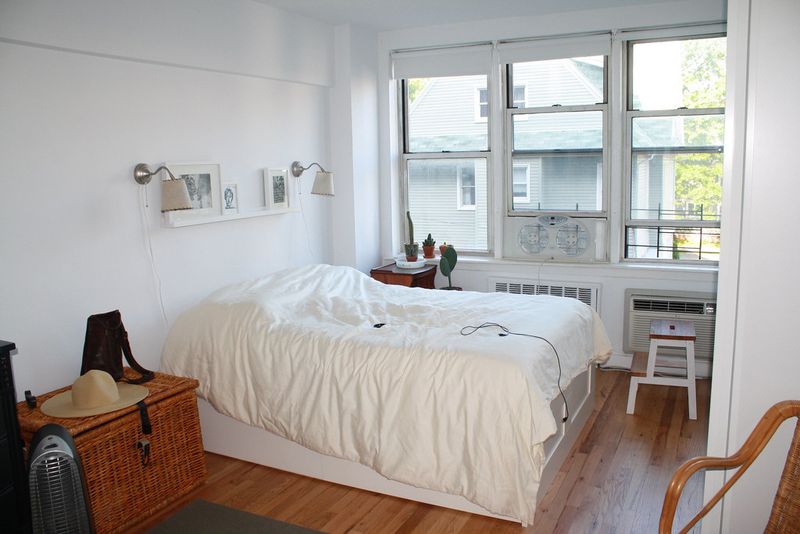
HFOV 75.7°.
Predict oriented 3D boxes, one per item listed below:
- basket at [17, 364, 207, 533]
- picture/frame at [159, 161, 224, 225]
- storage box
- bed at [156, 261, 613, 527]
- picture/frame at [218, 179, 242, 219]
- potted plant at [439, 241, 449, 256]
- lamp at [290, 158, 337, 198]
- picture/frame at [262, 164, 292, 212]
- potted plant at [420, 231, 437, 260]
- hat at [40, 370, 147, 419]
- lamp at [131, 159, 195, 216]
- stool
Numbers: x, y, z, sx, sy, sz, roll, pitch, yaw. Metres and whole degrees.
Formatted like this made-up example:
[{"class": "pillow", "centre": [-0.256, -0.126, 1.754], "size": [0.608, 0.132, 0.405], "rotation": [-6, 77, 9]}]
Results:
[{"class": "basket", "centre": [-1.673, 1.025, 3.155], "size": [0.723, 0.809, 1.070], "rotation": [-1, 8, 22]}, {"class": "picture/frame", "centre": [-1.549, -0.542, 3.745], "size": [0.046, 0.406, 0.480], "rotation": [3, 8, 22]}, {"class": "storage box", "centre": [-1.702, 0.864, 3.143], "size": [0.723, 0.826, 1.059], "rotation": [-2, 7, 21]}, {"class": "bed", "centre": [-0.169, 0.669, 3.297], "size": [2.131, 0.743, 1.665], "rotation": [3, 9, 23]}, {"class": "picture/frame", "centre": [-1.369, -0.542, 4.081], "size": [0.027, 0.395, 0.334], "rotation": [-1, 2, 20]}, {"class": "potted plant", "centre": [0.462, -0.191, 5.295], "size": [0.131, 0.155, 0.125], "rotation": [-6, 10, -38]}, {"class": "lamp", "centre": [-0.749, -0.797, 4.606], "size": [0.425, 0.307, 0.241], "rotation": [1, 2, 32]}, {"class": "picture/frame", "centre": [-1.089, -0.688, 4.472], "size": [0.081, 0.517, 0.437], "rotation": [-1, 3, 27]}, {"class": "potted plant", "centre": [0.314, -0.222, 5.399], "size": [0.136, 0.254, 0.261], "rotation": [0, 9, 2]}, {"class": "hat", "centre": [-1.728, 0.735, 2.875], "size": [0.315, 0.101, 0.333], "rotation": [-1, 10, 6]}, {"class": "lamp", "centre": [-1.620, -0.552, 3.588], "size": [0.365, 0.333, 0.237], "rotation": [1, 9, 13]}, {"class": "stool", "centre": [2.183, 0.691, 4.255], "size": [0.664, 0.826, 0.893], "rotation": [2, 4, 23]}]
